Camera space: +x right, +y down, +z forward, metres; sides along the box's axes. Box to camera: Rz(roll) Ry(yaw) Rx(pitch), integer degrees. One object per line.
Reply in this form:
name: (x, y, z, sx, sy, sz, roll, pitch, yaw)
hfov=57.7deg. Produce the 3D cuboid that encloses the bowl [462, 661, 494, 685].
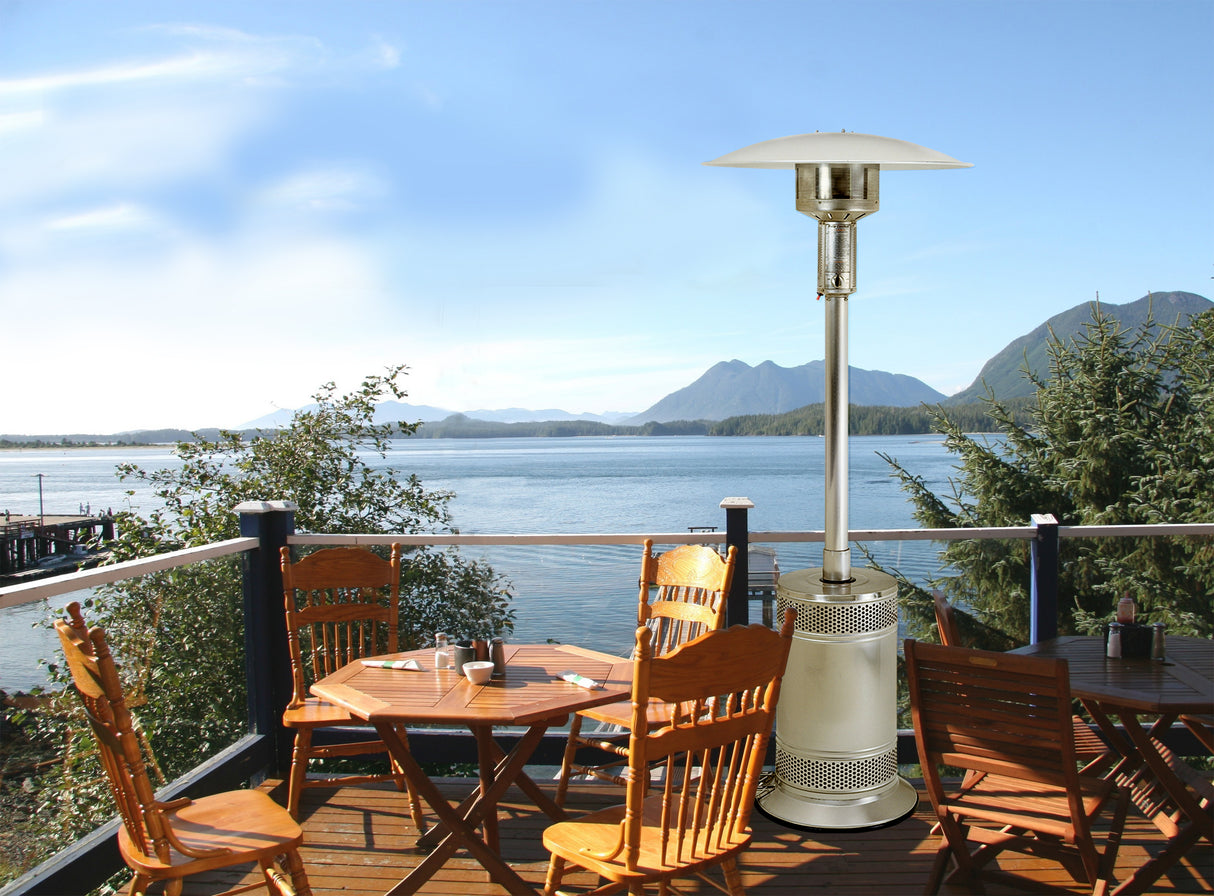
bowl: (-0.491, 0.853, 4.138, 0.091, 0.050, 0.086, -1, 2, 0)

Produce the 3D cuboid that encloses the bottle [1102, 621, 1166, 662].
bottle: (2.091, 0.782, 4.373, 0.160, 0.126, 0.203, -5, 4, -43)

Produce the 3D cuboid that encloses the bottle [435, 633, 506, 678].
bottle: (-0.522, 0.820, 4.304, 0.149, 0.093, 0.251, -1, -4, 34)
